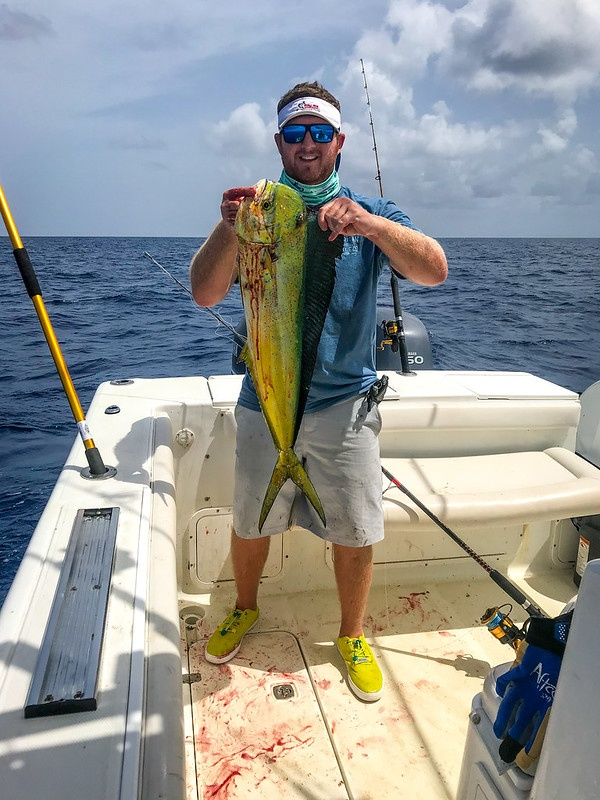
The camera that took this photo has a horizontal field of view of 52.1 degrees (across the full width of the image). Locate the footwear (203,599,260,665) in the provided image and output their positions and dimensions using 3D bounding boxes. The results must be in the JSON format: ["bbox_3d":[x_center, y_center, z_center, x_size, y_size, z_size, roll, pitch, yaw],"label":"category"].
[{"bbox_3d":[-0.249,0.848,2.260,0.091,0.091,0.248,17,16,21],"label":"footwear"}]

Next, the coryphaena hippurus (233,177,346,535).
[{"bbox_3d":[-0.035,-0.053,1.475,0.240,0.892,0.264,-5,20,-15],"label":"coryphaena hippurus"}]

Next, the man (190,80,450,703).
[{"bbox_3d":[0.051,-0.023,1.891,0.805,1.794,0.612,4,6,13],"label":"man"}]

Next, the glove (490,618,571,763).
[{"bbox_3d":[0.397,0.503,1.071,0.093,0.265,0.139,9,21,26],"label":"glove"}]

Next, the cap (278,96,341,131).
[{"bbox_3d":[0.021,-0.723,1.558,0.156,0.083,0.165,0,19,0],"label":"cap"}]

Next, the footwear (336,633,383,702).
[{"bbox_3d":[0.208,0.902,2.140,0.118,0.110,0.306,4,13,-17],"label":"footwear"}]
